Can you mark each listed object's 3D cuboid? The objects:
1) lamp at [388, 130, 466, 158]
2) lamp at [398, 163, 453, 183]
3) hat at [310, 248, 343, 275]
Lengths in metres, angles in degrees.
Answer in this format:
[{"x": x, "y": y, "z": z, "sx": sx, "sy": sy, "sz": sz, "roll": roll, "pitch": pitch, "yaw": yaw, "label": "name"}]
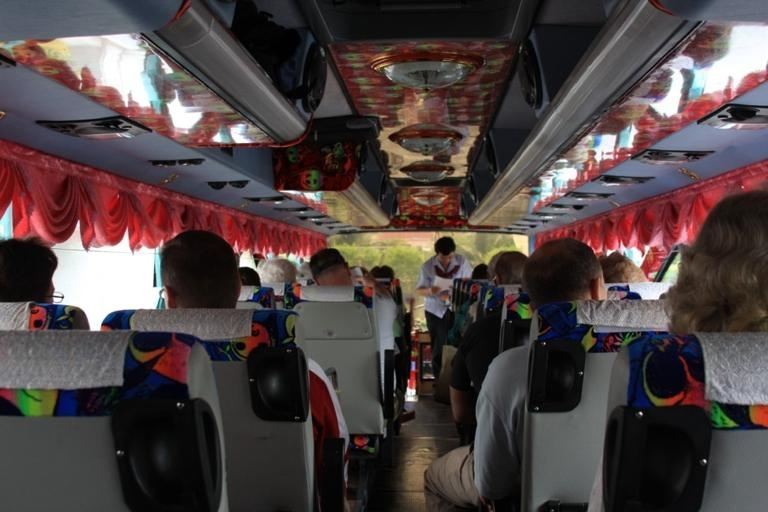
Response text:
[{"x": 0.487, "y": -1.275, "z": 6.125, "sx": 0.805, "sy": 0.194, "sz": 0.622, "roll": 2, "pitch": -6, "yaw": -9, "label": "lamp"}, {"x": 0.650, "y": -1.278, "z": 8.465, "sx": 0.796, "sy": 0.155, "sz": 0.913, "roll": 0, "pitch": -6, "yaw": 12, "label": "lamp"}, {"x": -0.515, "y": 0.047, "z": 4.838, "sx": 0.230, "sy": 0.218, "sz": 0.272, "roll": -6, "pitch": 6, "yaw": -17, "label": "hat"}]
